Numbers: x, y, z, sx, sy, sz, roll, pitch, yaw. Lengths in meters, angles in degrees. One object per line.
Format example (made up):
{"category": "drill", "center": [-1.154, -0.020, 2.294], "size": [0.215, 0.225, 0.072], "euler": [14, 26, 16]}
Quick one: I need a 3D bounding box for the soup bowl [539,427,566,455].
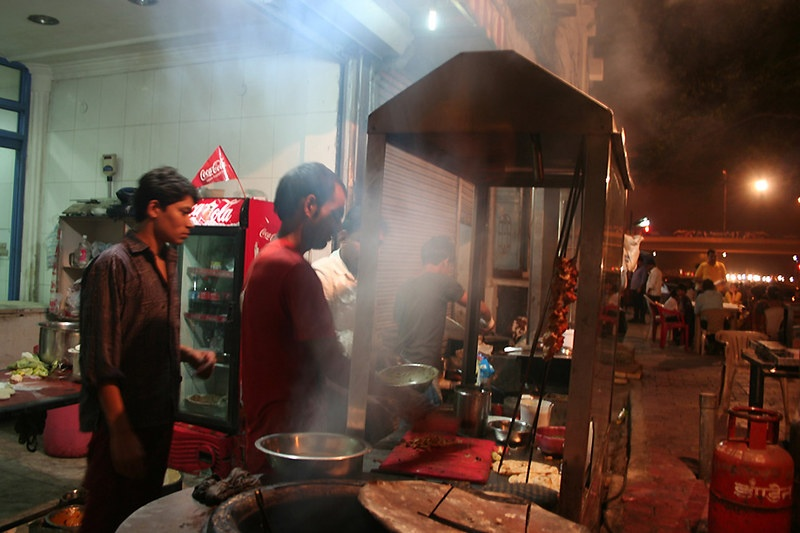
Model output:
{"category": "soup bowl", "center": [1.189, 1.375, 4.648], "size": [0.223, 0.110, 0.227], "euler": [1, -10, 0]}

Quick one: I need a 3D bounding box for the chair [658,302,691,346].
{"category": "chair", "center": [7.658, 1.648, 16.405], "size": [0.849, 1.138, 0.876], "euler": [-1, 9, 7]}

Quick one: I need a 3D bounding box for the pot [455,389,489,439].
{"category": "pot", "center": [0.622, 1.206, 4.826], "size": [0.346, 0.381, 0.281], "euler": [1, 0, 29]}

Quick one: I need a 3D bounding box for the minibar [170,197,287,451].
{"category": "minibar", "center": [-2.250, 0.777, 8.093], "size": [1.289, 3.304, 1.533], "euler": [3, -1, 19]}

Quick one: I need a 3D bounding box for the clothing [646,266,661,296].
{"category": "clothing", "center": [7.753, 0.461, 17.877], "size": [0.410, 0.909, 0.699], "euler": [4, 8, 18]}

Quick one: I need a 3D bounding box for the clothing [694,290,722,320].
{"category": "clothing", "center": [7.737, 0.856, 14.782], "size": [0.648, 0.978, 0.437], "euler": [9, 10, 42]}

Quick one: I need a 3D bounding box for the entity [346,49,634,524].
{"category": "entity", "center": [1.075, 0.122, 6.461], "size": [2.477, 3.877, 5.654], "euler": [4, 8, 15]}

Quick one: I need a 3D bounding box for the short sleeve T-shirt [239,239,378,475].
{"category": "short sleeve T-shirt", "center": [-0.973, 0.779, 4.751], "size": [0.608, 1.750, 1.072], "euler": [7, -10, -32]}

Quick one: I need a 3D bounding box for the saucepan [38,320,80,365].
{"category": "saucepan", "center": [-4.028, 0.925, 7.040], "size": [0.498, 0.406, 0.525], "euler": [5, 2, -35]}

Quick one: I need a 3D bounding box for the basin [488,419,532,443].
{"category": "basin", "center": [0.841, 1.330, 4.755], "size": [0.270, 0.108, 0.272], "euler": [3, -2, 0]}

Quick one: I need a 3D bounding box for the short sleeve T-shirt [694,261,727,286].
{"category": "short sleeve T-shirt", "center": [8.748, 0.207, 16.513], "size": [0.927, 0.930, 0.527], "euler": [-2, -12, 35]}

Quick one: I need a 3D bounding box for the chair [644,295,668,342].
{"category": "chair", "center": [7.480, 1.569, 16.743], "size": [0.865, 1.097, 0.825], "euler": [-3, -4, 40]}
